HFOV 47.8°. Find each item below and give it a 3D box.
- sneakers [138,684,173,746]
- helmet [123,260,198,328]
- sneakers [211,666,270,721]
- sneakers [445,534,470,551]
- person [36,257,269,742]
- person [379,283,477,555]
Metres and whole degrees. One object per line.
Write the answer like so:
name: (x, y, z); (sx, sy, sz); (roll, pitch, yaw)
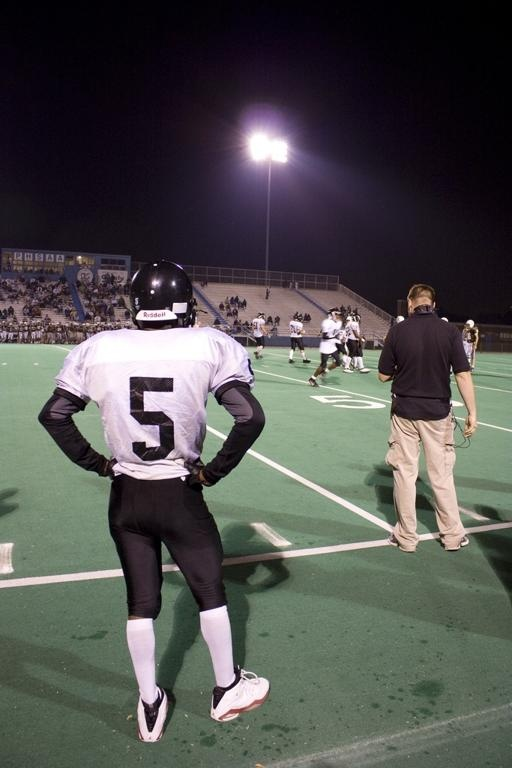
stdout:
sneakers: (-0.373, 1.236, 2.172); (0.099, 0.212, 0.094); (1, 11, -12)
helmet: (-0.360, -0.341, 2.224); (0.246, 0.265, 0.302); (4, 14, 10)
sneakers: (-0.048, 1.201, 2.276); (0.111, 0.157, 0.323); (5, 2, 38)
sneakers: (1.448, 1.129, 4.150); (0.081, 0.096, 0.235); (-1, -1, 45)
person: (-0.356, 0.436, 2.145); (0.784, 1.791, 0.366); (2, 7, 9)
person: (1.168, 0.248, 4.029); (0.670, 1.881, 0.353); (5, 8, 31)
